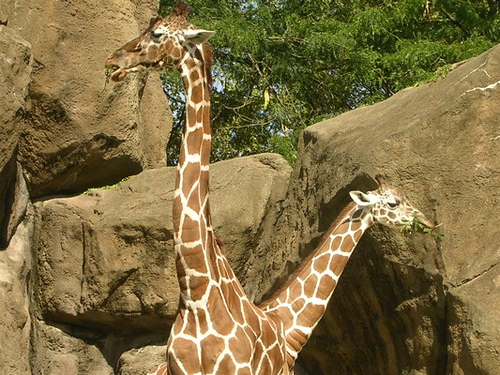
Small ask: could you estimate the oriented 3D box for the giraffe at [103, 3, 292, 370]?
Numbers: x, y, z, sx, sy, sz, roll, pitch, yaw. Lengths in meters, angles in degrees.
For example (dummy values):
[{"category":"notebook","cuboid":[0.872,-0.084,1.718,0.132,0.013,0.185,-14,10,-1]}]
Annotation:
[{"category":"giraffe","cuboid":[-0.625,0.262,17.206,1.608,3.987,2.843,-11,35,-23]}]
